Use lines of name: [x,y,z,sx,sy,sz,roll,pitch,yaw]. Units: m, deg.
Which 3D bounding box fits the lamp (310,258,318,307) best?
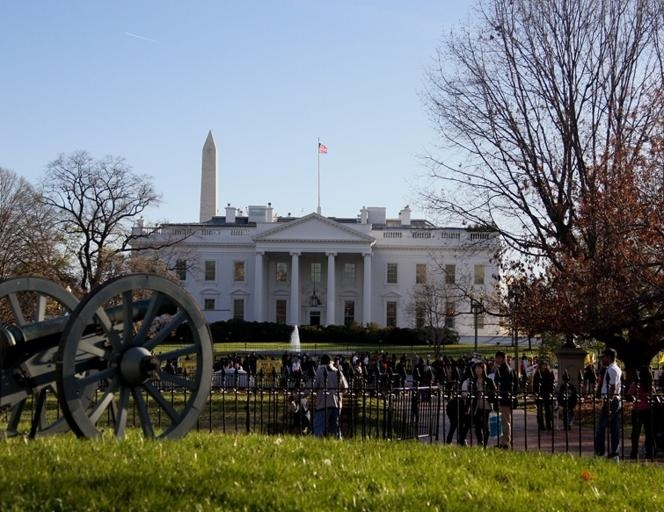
lamp: [-1.308,2.350,77.082,0.668,3.368,1.127,2,0,-2]
